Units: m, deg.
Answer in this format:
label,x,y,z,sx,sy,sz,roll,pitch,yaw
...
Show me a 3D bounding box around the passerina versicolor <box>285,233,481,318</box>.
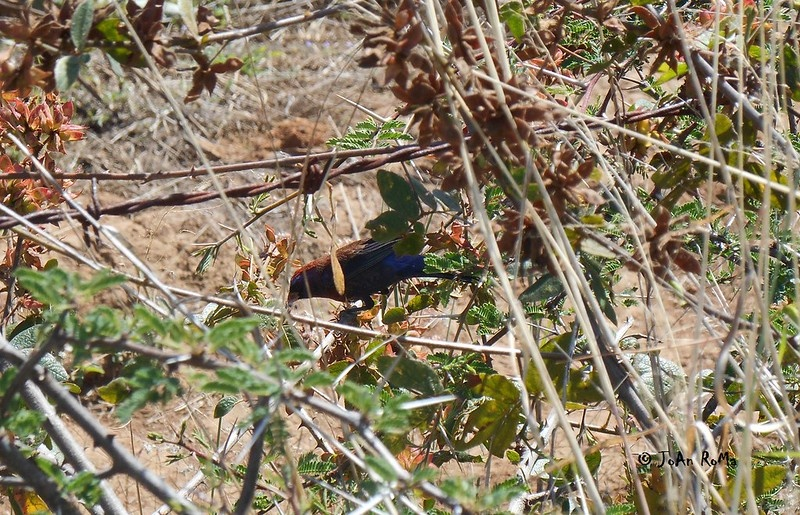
label,x,y,z,sx,sy,sz,roll,pitch,yaw
passerina versicolor,-0.237,0.087,4.983,1.165,0.350,0.339,-13,0,19
